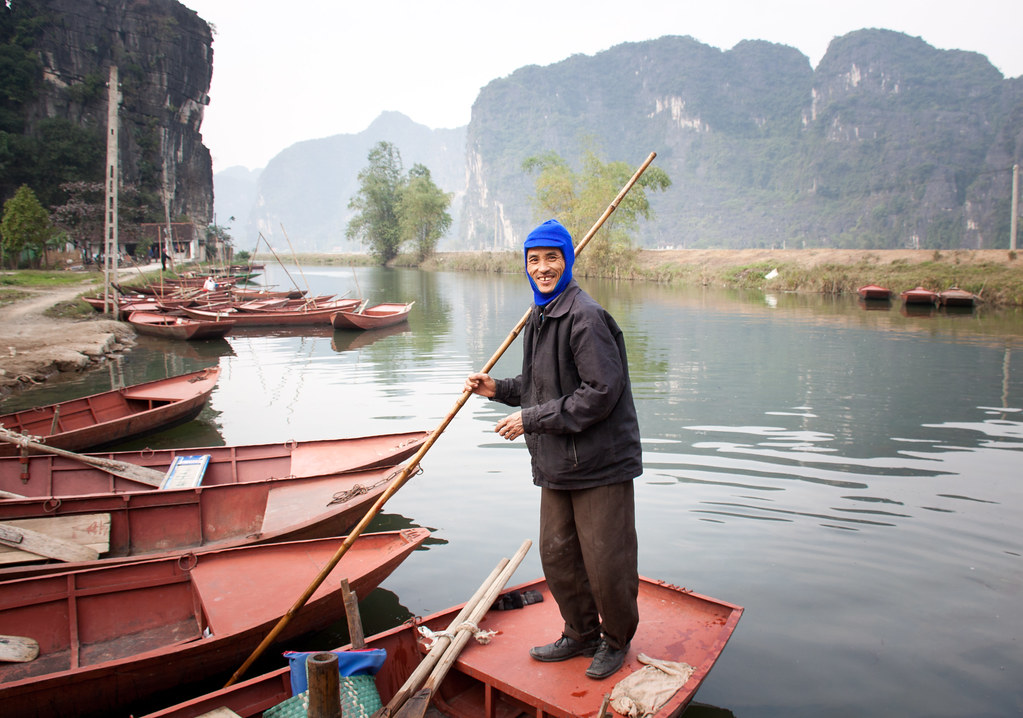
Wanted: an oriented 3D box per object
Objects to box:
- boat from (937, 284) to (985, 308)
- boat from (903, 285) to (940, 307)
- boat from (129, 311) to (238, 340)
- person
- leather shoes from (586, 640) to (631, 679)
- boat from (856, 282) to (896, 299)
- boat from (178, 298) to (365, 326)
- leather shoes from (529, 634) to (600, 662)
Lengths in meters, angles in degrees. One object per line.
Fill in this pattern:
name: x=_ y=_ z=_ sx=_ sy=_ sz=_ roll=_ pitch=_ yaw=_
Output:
boat: x=17.598 y=-2.371 z=31.182 sx=1.382 sy=0.696 sz=1.885 roll=1 pitch=11 yaw=28
boat: x=16.634 y=-2.606 z=32.242 sx=0.748 sy=0.454 sz=1.102 roll=3 pitch=-2 yaw=-11
boat: x=-10.771 y=-1.065 z=24.617 sx=3.410 sy=0.559 sz=1.201 roll=8 pitch=15 yaw=35
person: x=0.559 y=0.805 z=6.937 sx=1.034 sy=4.012 sz=0.744 roll=2 pitch=13 yaw=29
leather shoes: x=0.867 y=2.688 z=7.018 sx=0.183 sy=0.199 sz=0.499 roll=2 pitch=6 yaw=32
boat: x=16.040 y=-2.932 z=34.753 sx=1.075 sy=0.683 sz=1.752 roll=-1 pitch=10 yaw=19
boat: x=-8.519 y=-1.674 z=27.912 sx=6.063 sy=0.942 sz=1.314 roll=-1 pitch=15 yaw=-10
leather shoes: x=0.472 y=2.615 z=7.270 sx=0.661 sy=0.273 sz=0.231 roll=2 pitch=-2 yaw=0
